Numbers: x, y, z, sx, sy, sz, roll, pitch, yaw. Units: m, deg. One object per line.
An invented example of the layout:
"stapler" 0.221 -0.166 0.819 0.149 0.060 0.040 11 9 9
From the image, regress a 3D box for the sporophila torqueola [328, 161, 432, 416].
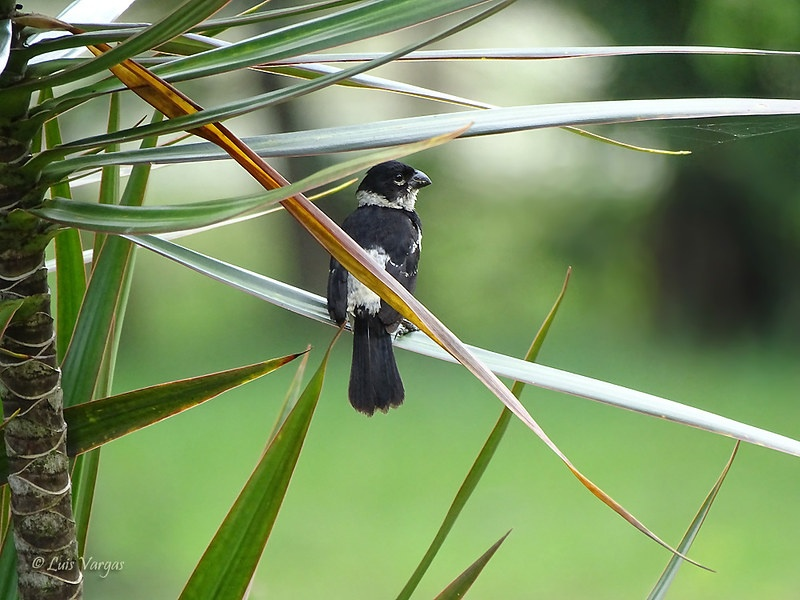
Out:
"sporophila torqueola" -0.091 -0.095 3.031 0.331 0.962 0.567 4 -67 -1
